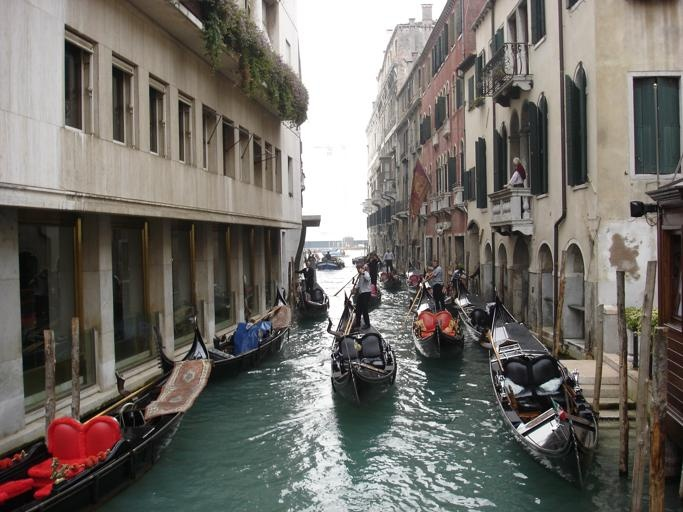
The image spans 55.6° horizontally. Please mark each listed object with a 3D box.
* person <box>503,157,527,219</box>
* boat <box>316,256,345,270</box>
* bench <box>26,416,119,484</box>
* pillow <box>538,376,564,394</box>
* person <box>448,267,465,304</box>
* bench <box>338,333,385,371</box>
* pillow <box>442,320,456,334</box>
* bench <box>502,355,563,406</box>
[{"bbox_3d":[5.464,-2.307,20.130,0.520,1.482,0.605,-3,14,23],"label":"person"},{"bbox_3d":[-1.076,0.645,65.614,2.191,1.183,4.883,0,9,4],"label":"boat"},{"bbox_3d":[-4.488,3.181,11.103,1.295,1.393,0.866,-1,-5,4],"label":"bench"},{"bbox_3d":[4.260,2.644,13.214,0.311,0.153,0.360,-8,4,9],"label":"pillow"},{"bbox_3d":[4.473,1.067,25.130,0.648,1.236,1.813,0,7,9],"label":"person"},{"bbox_3d":[0.538,2.276,15.908,0.661,0.951,0.953,-1,-18,-1],"label":"bench"},{"bbox_3d":[3.073,2.103,18.477,0.257,0.505,0.303,0,16,-31],"label":"pillow"},{"bbox_3d":[3.915,2.493,13.354,1.202,1.163,0.777,-2,-3,6],"label":"bench"}]
